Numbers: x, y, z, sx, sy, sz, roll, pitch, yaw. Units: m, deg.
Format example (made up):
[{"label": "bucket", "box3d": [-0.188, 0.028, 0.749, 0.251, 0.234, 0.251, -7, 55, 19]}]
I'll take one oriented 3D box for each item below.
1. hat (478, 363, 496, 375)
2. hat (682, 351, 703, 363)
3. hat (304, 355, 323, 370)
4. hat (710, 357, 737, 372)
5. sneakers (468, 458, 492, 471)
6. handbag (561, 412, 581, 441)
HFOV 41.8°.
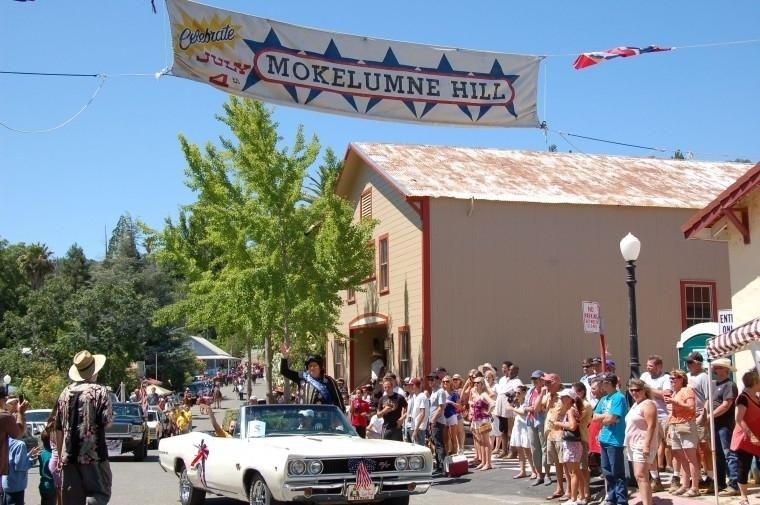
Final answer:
[{"label": "hat", "box3d": [2.946, 3.243, 27.606, 0.615, 0.218, 0.657, 4, -2, 11]}, {"label": "hat", "box3d": [6.644, 2.218, 21.035, 0.439, 0.242, 0.316, 1, -10, 4]}, {"label": "hat", "box3d": [-1.358, 2.293, 20.486, 0.249, 0.309, 0.348, -5, -52, -3]}, {"label": "hat", "box3d": [7.010, 2.286, 20.519, 0.352, 0.158, 0.398, 5, -12, -6]}, {"label": "sneakers", "box3d": [2.484, 5.234, 24.382, 0.620, 0.271, 0.186, 10, -13, -33]}, {"label": "handbag", "box3d": [3.914, 3.590, 20.298, 0.477, 0.660, 0.266, 3, -8, -13]}]
